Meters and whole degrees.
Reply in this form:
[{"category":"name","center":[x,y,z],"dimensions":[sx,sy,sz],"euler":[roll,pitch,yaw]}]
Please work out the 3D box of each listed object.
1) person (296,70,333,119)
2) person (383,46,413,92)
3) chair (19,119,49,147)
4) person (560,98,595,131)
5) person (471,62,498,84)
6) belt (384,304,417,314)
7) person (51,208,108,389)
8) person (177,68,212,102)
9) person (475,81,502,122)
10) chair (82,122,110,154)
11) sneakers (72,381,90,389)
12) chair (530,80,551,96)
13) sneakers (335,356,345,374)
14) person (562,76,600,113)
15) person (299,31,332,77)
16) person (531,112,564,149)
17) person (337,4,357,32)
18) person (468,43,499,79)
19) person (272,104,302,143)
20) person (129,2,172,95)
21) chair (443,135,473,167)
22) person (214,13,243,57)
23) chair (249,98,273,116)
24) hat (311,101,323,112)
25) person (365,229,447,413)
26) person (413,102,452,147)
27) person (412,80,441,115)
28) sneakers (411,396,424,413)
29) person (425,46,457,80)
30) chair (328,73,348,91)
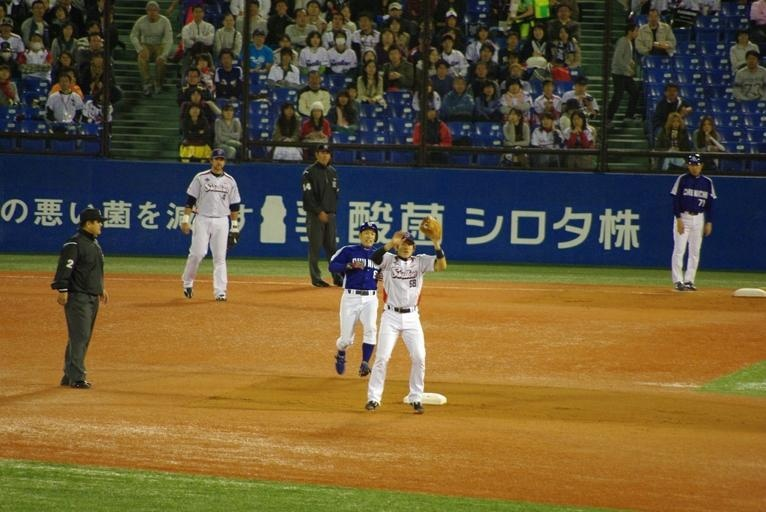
[{"category":"person","center":[-1.826,-4.269,30.114],"dimensions":[0.909,1.270,0.781],"euler":[-2,13,-10]},{"category":"person","center":[0.300,-4.917,30.541],"dimensions":[1.085,1.446,0.890],"euler":[-3,17,-8]},{"category":"chair","center":[-9.321,-3.322,30.492],"dimensions":[0.846,0.951,0.708],"euler":[0,0,-8]},{"category":"person","center":[5.032,-3.810,29.933],"dimensions":[0.688,0.913,0.335],"euler":[7,-10,7]},{"category":"person","center":[2.644,-4.919,30.488],"dimensions":[0.547,0.770,0.593],"euler":[0,-6,-3]},{"category":"belt","center":[0.257,0.796,18.094],"dimensions":[0.497,0.119,0.148],"euler":[3,14,7]},{"category":"person","center":[-4.982,0.674,18.750],"dimensions":[0.583,2.797,0.786],"euler":[5,14,15]},{"category":"person","center":[-5.030,-4.572,30.264],"dimensions":[0.827,0.814,0.348],"euler":[2,-2,4]},{"category":"person","center":[2.817,-4.110,30.105],"dimensions":[0.688,0.918,0.371],"euler":[2,2,0]},{"category":"chair","center":[-7.721,-3.143,30.323],"dimensions":[0.905,0.836,0.699],"euler":[1,1,2]},{"category":"sneakers","center":[-4.976,2.065,18.702],"dimensions":[0.220,0.089,0.133],"euler":[-2,3,12]},{"category":"chair","center":[4.250,-4.474,30.349],"dimensions":[0.456,0.402,0.671],"euler":[-2,22,-24]},{"category":"sneakers","center":[-0.749,1.847,19.754],"dimensions":[0.127,0.324,0.137],"euler":[-2,1,-4]},{"category":"person","center":[5.230,-4.142,30.500],"dimensions":[0.749,1.273,0.701],"euler":[-12,41,-9]},{"category":"person","center":[-1.850,-5.372,30.615],"dimensions":[0.797,1.285,0.687],"euler":[-4,25,-20]},{"category":"person","center":[4.327,-3.229,30.058],"dimensions":[0.855,1.100,0.660],"euler":[2,7,27]},{"category":"person","center":[-0.994,-6.515,31.354],"dimensions":[0.532,0.708,0.301],"euler":[13,-30,-29]},{"category":"person","center":[2.692,-5.205,30.593],"dimensions":[0.860,0.490,1.252],"euler":[3,51,4]},{"category":"person","center":[-2.510,-3.462,29.681],"dimensions":[0.634,0.961,0.385],"euler":[2,10,-1]},{"category":"person","center":[-6.309,-5.695,31.195],"dimensions":[1.040,2.403,1.179],"euler":[-4,15,-22]},{"category":"chair","center":[2.053,-2.803,30.310],"dimensions":[0.808,1.364,0.746],"euler":[1,2,-2]},{"category":"person","center":[-4.161,-5.869,30.510],"dimensions":[0.730,1.224,0.718],"euler":[0,-2,-13]},{"category":"chair","center":[-3.269,-3.939,30.227],"dimensions":[0.777,0.447,0.422],"euler":[2,6,1]},{"category":"hat","center":[-1.740,-3.920,29.811],"dimensions":[0.260,0.203,0.256],"euler":[2,2,-4]},{"category":"person","center":[0.321,0.991,18.255],"dimensions":[1.108,2.822,0.958],"euler":[2,14,0]},{"category":"person","center":[1.324,-3.426,30.088],"dimensions":[1.022,0.995,0.425],"euler":[1,14,-2]},{"category":"person","center":[1.272,-4.049,30.239],"dimensions":[0.497,1.117,0.327],"euler":[-7,-15,-8]},{"category":"sneakers","center":[0.541,2.343,18.174],"dimensions":[0.124,0.146,0.335],"euler":[1,10,0]},{"category":"person","center":[1.573,-5.151,30.416],"dimensions":[0.697,0.749,0.558],"euler":[2,14,1]},{"category":"chair","center":[-1.215,-4.667,30.526],"dimensions":[0.495,0.458,0.451],"euler":[0,8,6]}]
